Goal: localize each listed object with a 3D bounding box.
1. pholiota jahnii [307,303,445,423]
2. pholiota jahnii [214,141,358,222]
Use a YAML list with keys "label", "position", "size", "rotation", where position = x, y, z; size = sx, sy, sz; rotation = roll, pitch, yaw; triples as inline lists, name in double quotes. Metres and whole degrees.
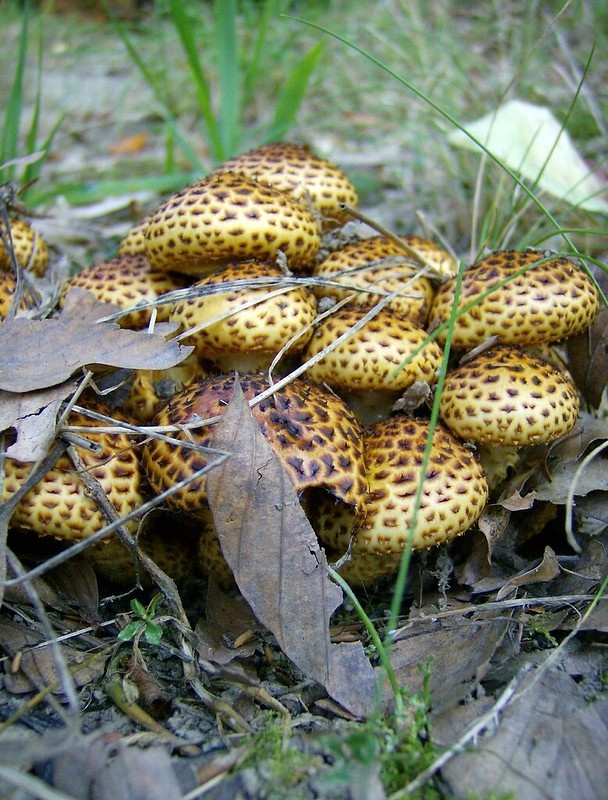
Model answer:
- label: "pholiota jahnii"
  position: [0.279, -0.151, 2.894]
  size: [0.418, 0.385, 0.378]
  rotation: [-11, 16, -26]
- label: "pholiota jahnii"
  position: [-0.019, -0.818, 3.210]
  size: [0.403, 0.352, 0.381]
  rotation: [3, 18, 31]
